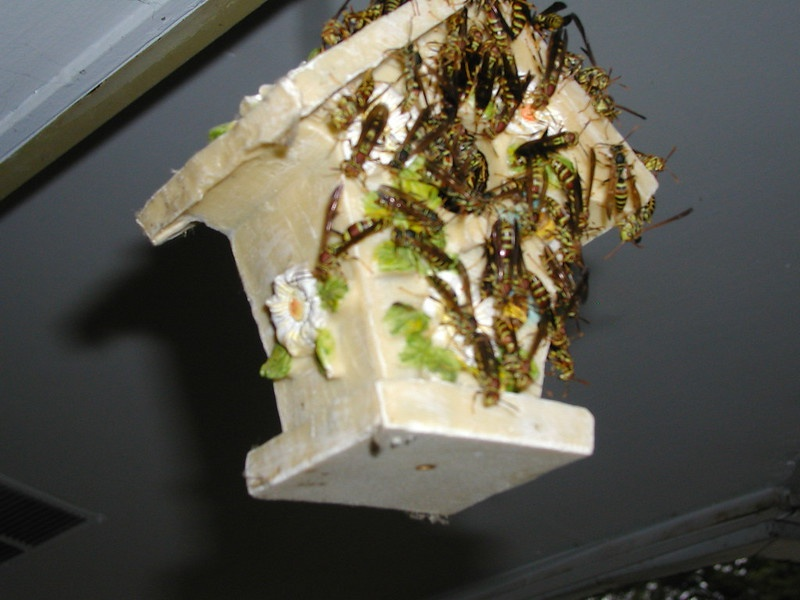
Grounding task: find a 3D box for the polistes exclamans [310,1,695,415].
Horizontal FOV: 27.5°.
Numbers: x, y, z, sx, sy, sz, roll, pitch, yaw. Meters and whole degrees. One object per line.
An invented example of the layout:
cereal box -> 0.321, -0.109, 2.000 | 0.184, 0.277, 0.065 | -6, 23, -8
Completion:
polistes exclamans -> 0.301, -0.330, 5.200 | 0.794, 1.053, 1.112 | -10, 48, 54
